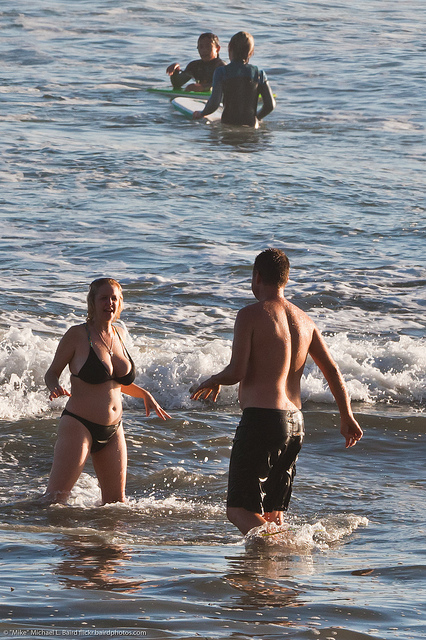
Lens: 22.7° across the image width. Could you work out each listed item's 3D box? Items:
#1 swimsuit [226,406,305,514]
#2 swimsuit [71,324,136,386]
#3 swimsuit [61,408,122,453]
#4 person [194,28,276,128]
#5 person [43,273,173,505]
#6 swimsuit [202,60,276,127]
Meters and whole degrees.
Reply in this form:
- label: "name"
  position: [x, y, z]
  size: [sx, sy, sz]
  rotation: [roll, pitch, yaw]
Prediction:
- label: "swimsuit"
  position: [0.303, 0.765, 5.722]
  size: [0.433, 0.600, 0.168]
  rotation: [3, 5, -27]
- label: "swimsuit"
  position: [-0.555, 0.214, 6.289]
  size: [0.359, 0.414, 0.294]
  rotation: [-1, 11, -43]
- label: "swimsuit"
  position: [-0.679, 0.673, 6.279]
  size: [0.268, 0.230, 0.292]
  rotation: [24, -2, 27]
- label: "person"
  position: [0.457, -3.754, 16.826]
  size: [1.069, 1.092, 2.587]
  rotation: [5, 4, 1]
- label: "person"
  position: [-0.761, 0.449, 6.331]
  size: [0.318, 1.379, 0.692]
  rotation: [9, 6, 40]
- label: "swimsuit"
  position: [0.449, -3.601, 17.073]
  size: [1.087, 0.739, 2.004]
  rotation: [5, 4, 0]
